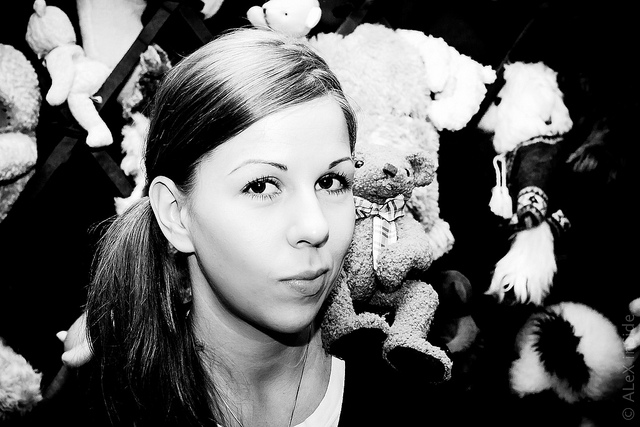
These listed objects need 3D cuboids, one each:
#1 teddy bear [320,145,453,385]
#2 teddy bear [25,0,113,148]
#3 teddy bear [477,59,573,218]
[{"bbox_3d":[0.217,0.174,2.177,0.391,0.631,0.452,7,30,-7],"label":"teddy bear"},{"bbox_3d":[-0.831,-0.461,2.342,0.312,0.396,0.215,7,30,-6],"label":"teddy bear"},{"bbox_3d":[0.692,-0.262,2.477,0.247,0.467,0.259,-16,39,-38],"label":"teddy bear"}]
